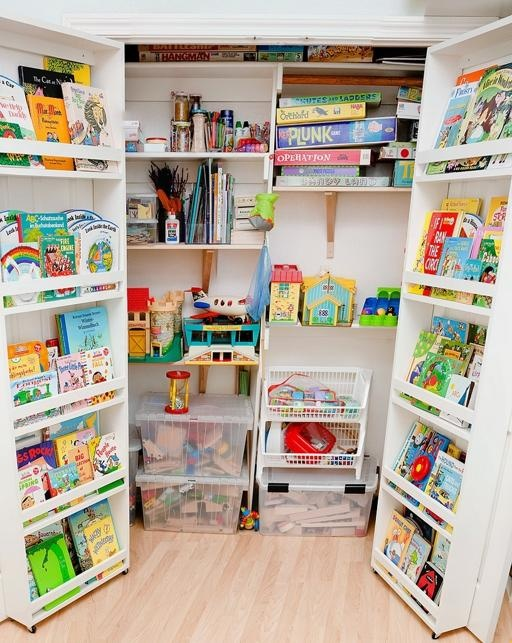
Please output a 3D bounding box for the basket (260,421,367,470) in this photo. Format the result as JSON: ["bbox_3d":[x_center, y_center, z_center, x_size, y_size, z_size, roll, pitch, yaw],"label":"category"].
[{"bbox_3d":[0.263,0.581,2.134,0.390,0.142,0.257,0,29,-1],"label":"basket"}]

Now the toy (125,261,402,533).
[{"bbox_3d":[0.033,0.343,2.150,1.083,1.128,0.367,1,15,-2],"label":"toy"}]

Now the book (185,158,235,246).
[{"bbox_3d":[-0.198,-0.515,2.279,0.267,0.537,0.422,2,10,-2],"label":"book"}]

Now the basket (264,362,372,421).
[{"bbox_3d":[0.285,0.330,2.140,0.363,0.142,0.250,0,34,0],"label":"basket"}]
